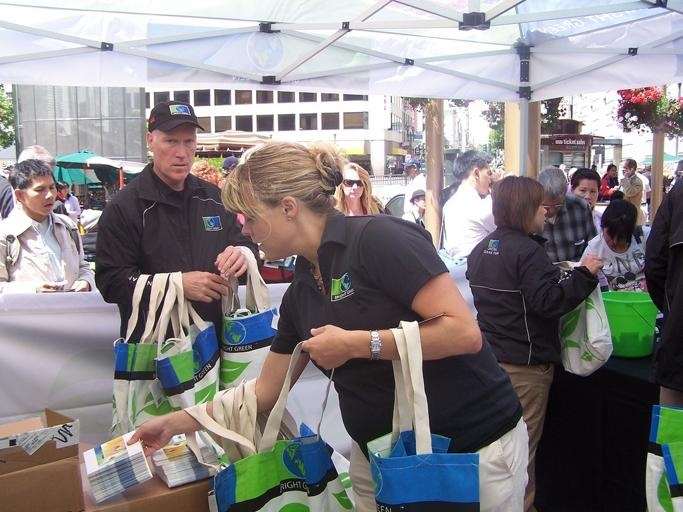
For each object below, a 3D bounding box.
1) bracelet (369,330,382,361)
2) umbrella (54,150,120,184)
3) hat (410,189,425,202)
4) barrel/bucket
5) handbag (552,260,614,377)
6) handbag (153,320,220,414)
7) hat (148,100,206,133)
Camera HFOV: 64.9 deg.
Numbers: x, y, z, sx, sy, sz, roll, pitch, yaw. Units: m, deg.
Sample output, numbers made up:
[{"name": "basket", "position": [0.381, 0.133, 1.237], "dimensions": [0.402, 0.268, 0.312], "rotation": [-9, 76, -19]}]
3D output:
[{"name": "bracelet", "position": [0.125, 0.324, 1.960], "dimensions": [0.042, 0.098, 0.038], "rotation": [0, 8, 4]}, {"name": "umbrella", "position": [-8.530, -2.991, 18.012], "dimensions": [1.810, 0.721, 1.881], "rotation": [-2, -9, -10]}, {"name": "hat", "position": [1.295, -1.068, 9.196], "dimensions": [0.178, 0.087, 0.216], "rotation": [-11, -15, -39]}, {"name": "barrel/bucket", "position": [1.906, 0.459, 3.655], "dimensions": [0.398, 0.326, 0.418], "rotation": [-2, 6, 0]}, {"name": "handbag", "position": [1.530, 0.456, 3.369], "dimensions": [0.155, 0.577, 0.308], "rotation": [-4, 8, -21]}, {"name": "handbag", "position": [-0.860, 0.612, 2.918], "dimensions": [0.172, 0.504, 0.438], "rotation": [1, 7, 35]}, {"name": "hat", "position": [-1.068, -0.860, 3.381], "dimensions": [0.209, 0.147, 0.280], "rotation": [-4, 1, -40]}]
